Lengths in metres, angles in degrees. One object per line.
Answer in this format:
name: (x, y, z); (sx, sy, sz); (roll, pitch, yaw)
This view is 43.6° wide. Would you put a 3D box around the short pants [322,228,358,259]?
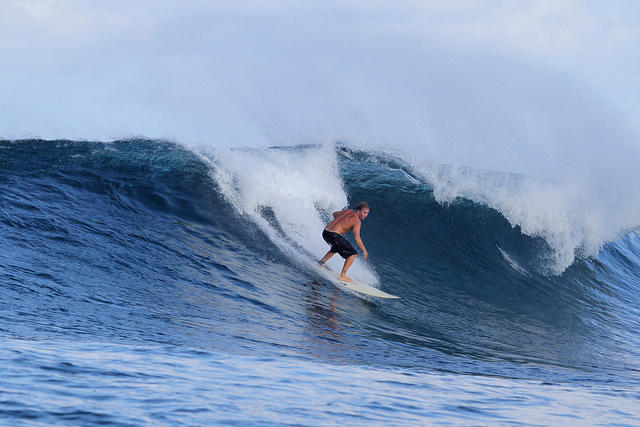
short pants: (0.428, 0.514, 14.028); (0.630, 0.231, 0.400); (39, -12, -17)
